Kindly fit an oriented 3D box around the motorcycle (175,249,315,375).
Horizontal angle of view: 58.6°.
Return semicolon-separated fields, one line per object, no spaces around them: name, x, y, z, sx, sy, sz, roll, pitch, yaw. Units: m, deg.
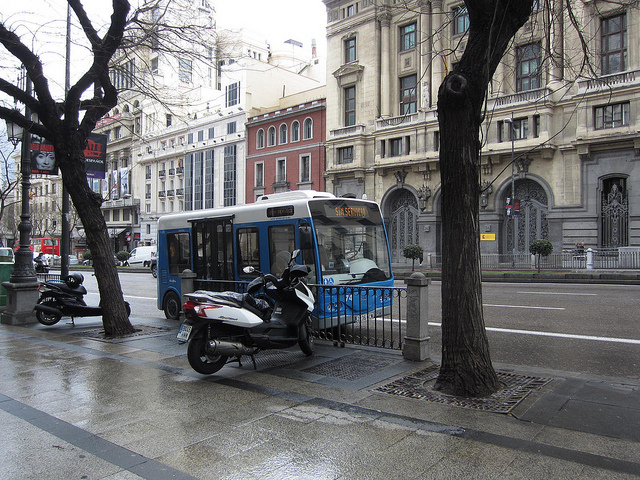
motorcycle;-1.104;1.188;10.048;2.890;1.900;1.208;1;-5;-44

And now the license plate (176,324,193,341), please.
license plate;-2.201;1.504;9.375;0.221;0.222;0.066;6;-10;44

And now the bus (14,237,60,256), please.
bus;-22.282;0.460;45.898;5.965;1.726;1.806;4;5;40

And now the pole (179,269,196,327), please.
pole;-3.037;1.276;13.368;0.441;1.176;0.444;-1;-4;-39

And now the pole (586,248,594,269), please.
pole;13.255;0.919;28.411;0.313;0.949;0.476;2;7;24

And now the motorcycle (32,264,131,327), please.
motorcycle;-6.292;1.274;14.144;2.388;1.440;0.717;0;0;-17

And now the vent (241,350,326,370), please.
vent;-0.786;2.129;10.389;0.999;0.228;0.991;9;3;44

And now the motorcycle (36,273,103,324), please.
motorcycle;-5.964;1.400;14.500;2.184;1.414;1.060;5;-9;-29

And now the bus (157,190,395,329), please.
bus;-1.535;0.529;15.058;2.646;3.388;7.100;1;-1;-41
